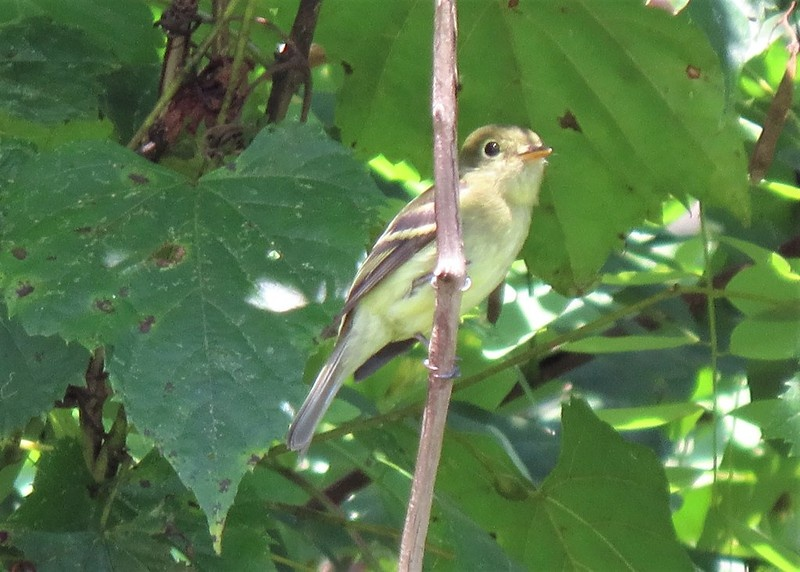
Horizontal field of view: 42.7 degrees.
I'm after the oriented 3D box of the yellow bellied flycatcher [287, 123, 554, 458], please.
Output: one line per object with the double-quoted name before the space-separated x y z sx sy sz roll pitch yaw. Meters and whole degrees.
"yellow bellied flycatcher" 0.028 0.006 2.033 0.326 0.740 0.254 44 -7 38
